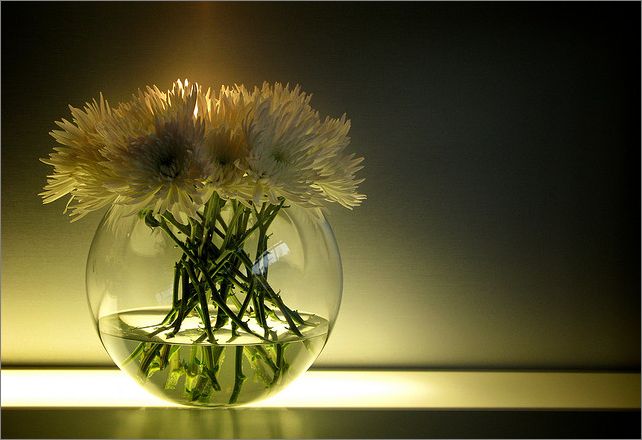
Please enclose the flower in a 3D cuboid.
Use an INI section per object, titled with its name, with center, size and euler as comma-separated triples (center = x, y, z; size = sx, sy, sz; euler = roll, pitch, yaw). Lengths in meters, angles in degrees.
[flower]
center = -0.203, 0.042, 1.049
size = 0.635, 0.594, 0.564
euler = 0, -89, 6
